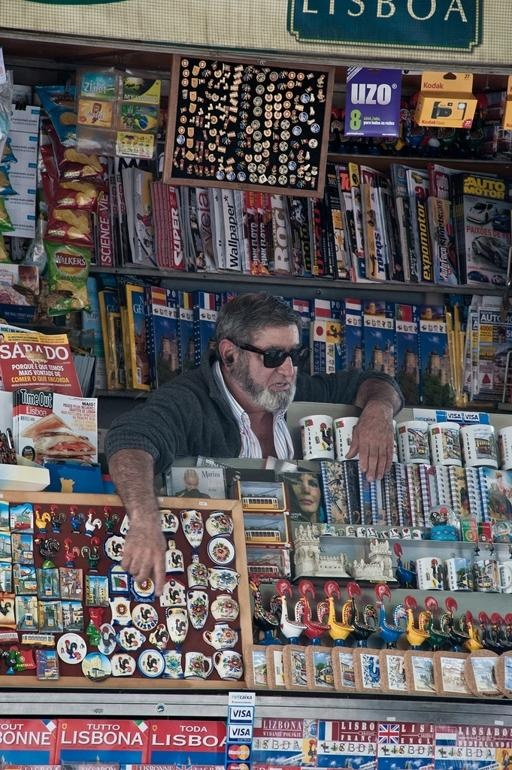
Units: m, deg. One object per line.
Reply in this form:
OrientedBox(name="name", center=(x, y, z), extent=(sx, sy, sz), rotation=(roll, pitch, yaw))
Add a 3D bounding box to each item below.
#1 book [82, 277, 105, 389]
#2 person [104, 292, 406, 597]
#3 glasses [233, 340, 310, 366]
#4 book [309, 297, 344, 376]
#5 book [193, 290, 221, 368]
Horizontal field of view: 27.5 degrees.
OrientedBox(name="book", center=(-0.701, -0.225, 4.513), extent=(0.088, 0.490, 0.221), rotation=(-7, 6, -9))
OrientedBox(name="person", center=(-0.041, 0.175, 3.145), extent=(0.920, 0.965, 0.569), rotation=(6, -13, -33))
OrientedBox(name="glasses", center=(0.043, -0.092, 3.212), extent=(0.228, 0.081, 0.141), rotation=(-4, 5, 6))
OrientedBox(name="book", center=(0.323, -0.210, 4.805), extent=(0.239, 0.377, 0.305), rotation=(1, -15, 1))
OrientedBox(name="book", center=(-0.228, -0.265, 4.678), extent=(0.085, 0.301, 0.236), rotation=(5, -2, 2))
